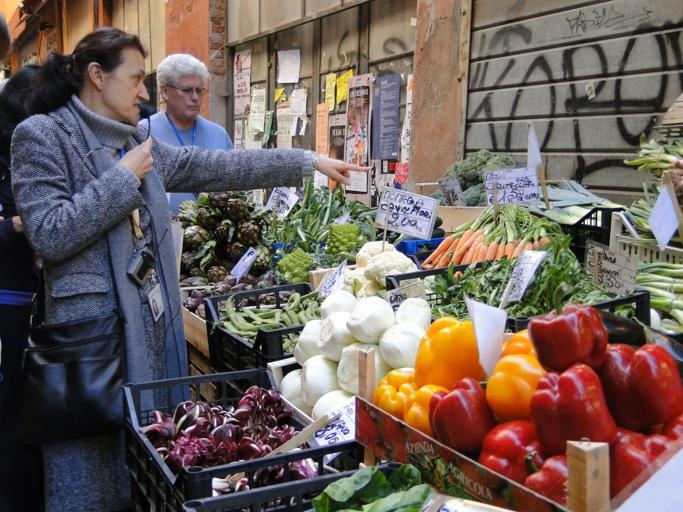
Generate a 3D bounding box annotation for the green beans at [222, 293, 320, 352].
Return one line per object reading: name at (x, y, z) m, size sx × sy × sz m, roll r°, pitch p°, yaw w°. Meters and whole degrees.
green beans at (-0.404, 0.332, 2.901) m, size 0.522 × 0.279 × 0.394 m, roll -10°, pitch 15°, yaw -34°

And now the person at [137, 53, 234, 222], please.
person at (-1.388, -1.327, 4.727) m, size 0.832 × 1.787 × 0.788 m, roll -13°, pitch 25°, yaw -35°

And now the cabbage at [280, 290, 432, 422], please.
cabbage at (0.006, 0.352, 1.977) m, size 0.548 × 0.502 × 0.580 m, roll -9°, pitch 16°, yaw -31°

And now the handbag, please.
handbag at (-1.222, 0.551, 2.305) m, size 0.456 × 0.560 × 0.166 m, roll 2°, pitch 8°, yaw -11°

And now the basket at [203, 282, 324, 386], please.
basket at (-0.426, 0.397, 2.728) m, size 0.515 × 0.328 × 0.515 m, roll -7°, pitch 8°, yaw -34°
